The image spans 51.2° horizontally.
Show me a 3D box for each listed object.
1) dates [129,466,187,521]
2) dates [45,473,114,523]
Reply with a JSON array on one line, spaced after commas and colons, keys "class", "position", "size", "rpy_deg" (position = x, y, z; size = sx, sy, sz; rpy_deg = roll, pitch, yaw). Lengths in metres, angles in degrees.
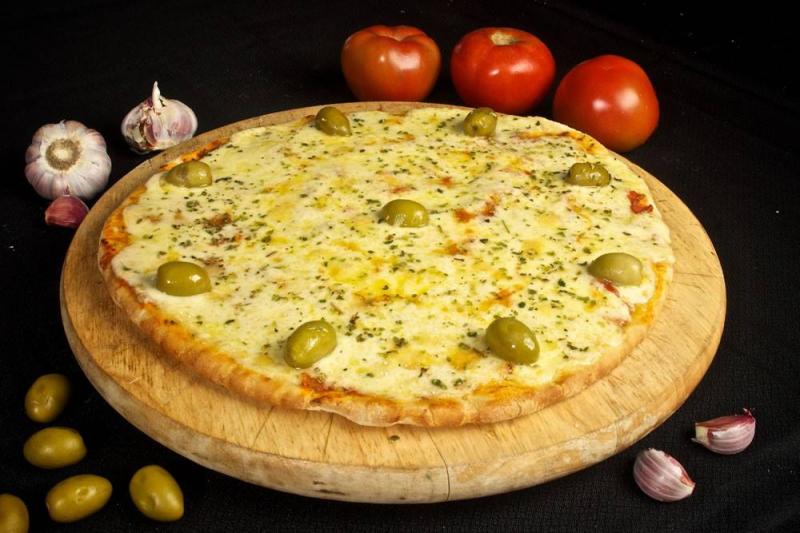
[{"class": "dates", "position": [-1.311, 1.226, 4.454], "size": [0.225, 0.212, 0.311], "rpy_deg": [-30, 59, -23]}, {"class": "dates", "position": [-1.732, 1.239, 4.469], "size": [0.332, 0.181, 0.197], "rpy_deg": [-23, 57, -20]}]
